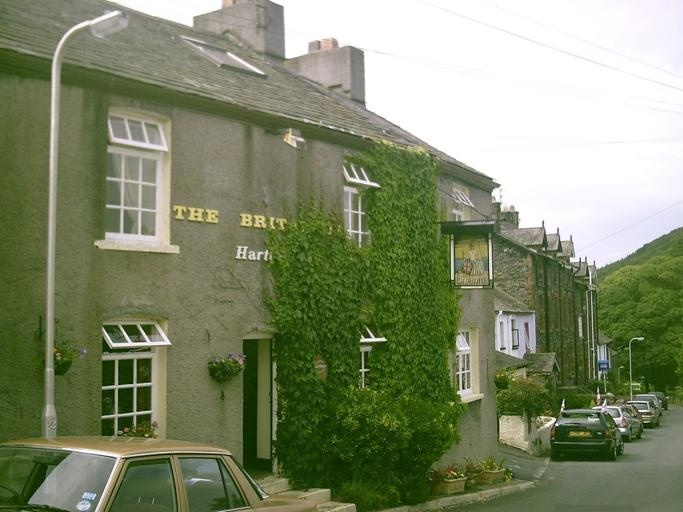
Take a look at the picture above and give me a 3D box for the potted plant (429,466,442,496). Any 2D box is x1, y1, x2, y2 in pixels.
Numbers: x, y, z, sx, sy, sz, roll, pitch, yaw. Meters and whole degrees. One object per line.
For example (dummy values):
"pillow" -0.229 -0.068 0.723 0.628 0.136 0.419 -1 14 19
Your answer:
"potted plant" 2.147 5.108 23.194 0.246 0.571 0.533 -9 -12 24

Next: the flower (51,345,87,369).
"flower" -4.769 1.759 17.825 0.317 0.114 0.433 16 8 16

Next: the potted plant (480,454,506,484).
"potted plant" 3.736 5.290 25.389 0.467 0.550 0.680 -3 -9 27

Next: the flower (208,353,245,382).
"flower" -2.213 2.144 19.784 0.318 0.567 0.768 -14 -15 43

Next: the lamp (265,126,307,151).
"lamp" -1.076 -2.474 21.313 0.589 0.451 0.184 25 -64 -16

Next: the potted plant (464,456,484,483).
"potted plant" 3.261 5.239 25.161 0.427 0.626 1.695 -5 -12 6
